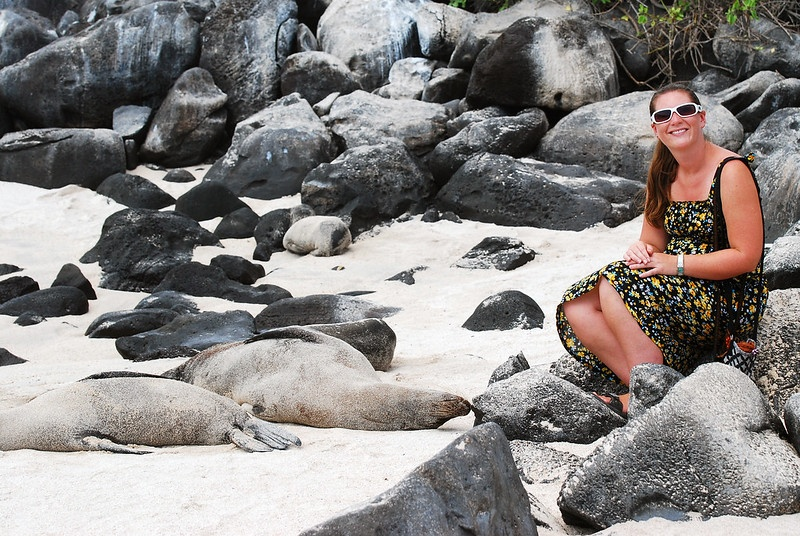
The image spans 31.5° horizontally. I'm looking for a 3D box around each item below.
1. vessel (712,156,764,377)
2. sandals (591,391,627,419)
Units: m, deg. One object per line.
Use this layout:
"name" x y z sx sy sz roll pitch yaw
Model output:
"vessel" 4.264 -0.360 18.044 0.850 2.558 0.448 1 -24 7
"sandals" 2.646 1.719 17.662 0.536 0.151 0.200 31 9 -7
